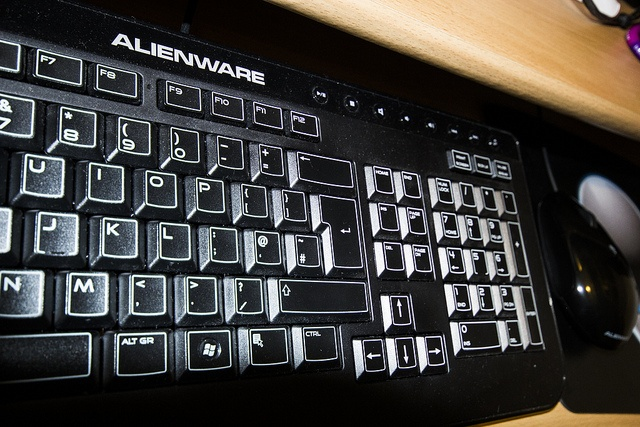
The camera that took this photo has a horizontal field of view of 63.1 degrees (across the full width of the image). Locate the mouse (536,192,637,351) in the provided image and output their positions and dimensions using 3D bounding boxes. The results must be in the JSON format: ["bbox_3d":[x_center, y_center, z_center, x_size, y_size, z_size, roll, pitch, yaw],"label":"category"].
[{"bbox_3d":[0.323,0.077,0.691,0.108,0.176,0.044,16,-38,-29],"label":"mouse"}]
